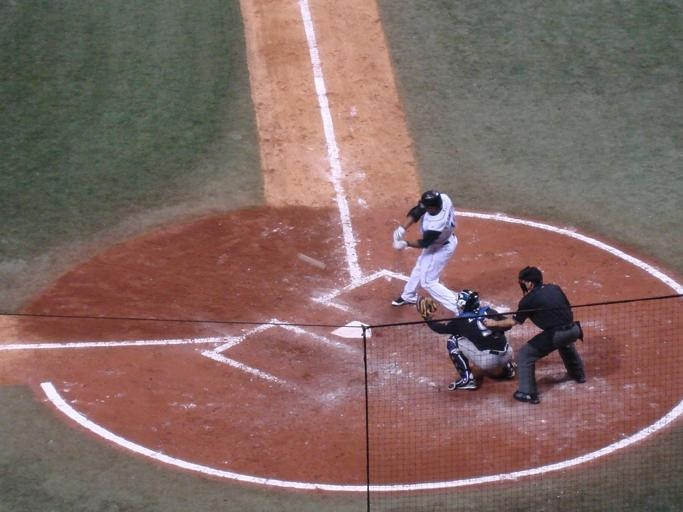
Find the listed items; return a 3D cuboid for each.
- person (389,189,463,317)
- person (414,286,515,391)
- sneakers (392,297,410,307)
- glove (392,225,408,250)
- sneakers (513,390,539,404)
[{"bbox_3d":[1.649,0.045,21.000,1.824,2.813,0.981,-4,63,5],"label":"person"},{"bbox_3d":[2.165,1.546,19.132,1.251,1.368,1.441,-28,38,-24],"label":"person"},{"bbox_3d":[1.116,0.889,20.870,0.406,0.128,0.143,-3,15,-5],"label":"sneakers"},{"bbox_3d":[1.115,-0.362,20.361,0.253,0.226,0.440,1,71,3],"label":"glove"},{"bbox_3d":[3.171,2.445,18.553,0.430,0.163,0.172,18,29,19],"label":"sneakers"}]
